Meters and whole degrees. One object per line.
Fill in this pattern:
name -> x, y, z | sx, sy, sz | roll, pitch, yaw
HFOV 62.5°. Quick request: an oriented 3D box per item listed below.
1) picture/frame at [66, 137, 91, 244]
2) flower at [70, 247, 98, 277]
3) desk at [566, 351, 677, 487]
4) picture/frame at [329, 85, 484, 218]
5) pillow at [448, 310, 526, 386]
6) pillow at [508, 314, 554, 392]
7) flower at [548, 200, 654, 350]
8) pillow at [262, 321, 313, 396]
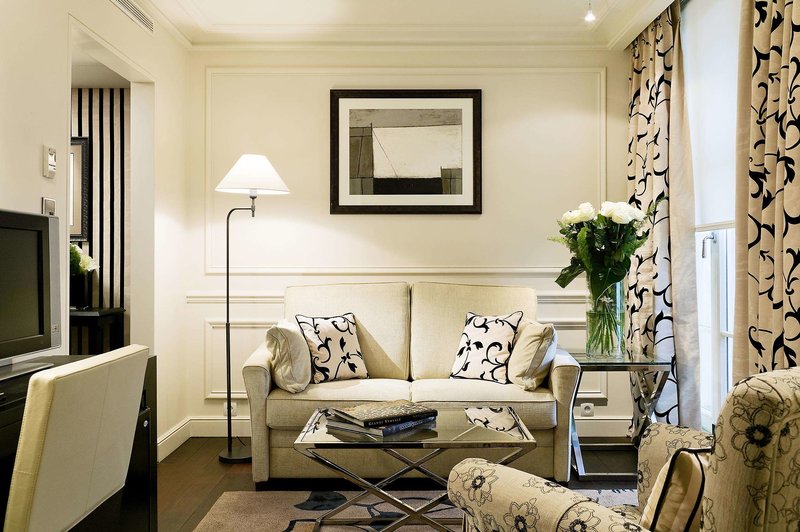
picture/frame -> -2.491, -0.610, 5.142 | 0.159, 0.812, 0.184 | -2, 10, -11
flower -> -2.318, -0.022, 4.808 | 0.096, 0.173, 0.222 | -30, -14, 16
desk -> 1.567, 0.990, 4.841 | 0.730, 0.935, 0.984 | 1, -6, 5
picture/frame -> 0.041, -0.925, 5.258 | 0.928, 0.802, 0.041 | 0, 2, 2
pillow -> 0.571, 0.523, 4.634 | 0.484, 0.491, 0.153 | 0, -24, 37
pillow -> 0.892, 0.592, 4.738 | 0.341, 0.489, 0.605 | 1, 6, 0
flower -> 1.430, 0.067, 4.639 | 0.652, 1.147, 0.771 | 5, -7, -35
pillow -> -0.712, 0.623, 4.687 | 0.236, 0.473, 0.708 | -1, 0, 6
